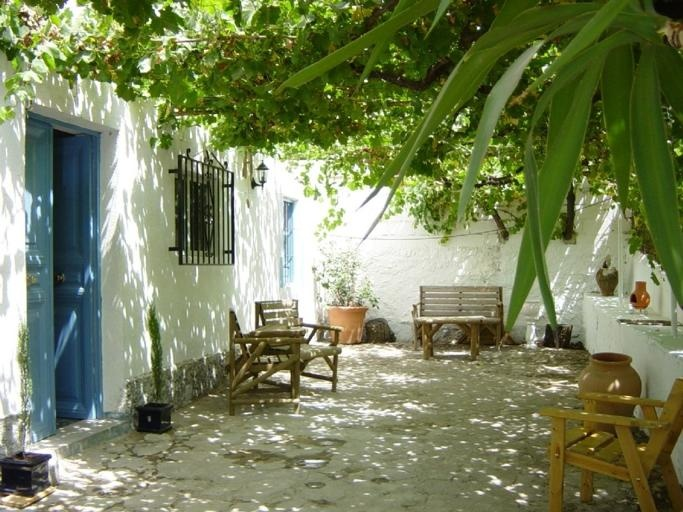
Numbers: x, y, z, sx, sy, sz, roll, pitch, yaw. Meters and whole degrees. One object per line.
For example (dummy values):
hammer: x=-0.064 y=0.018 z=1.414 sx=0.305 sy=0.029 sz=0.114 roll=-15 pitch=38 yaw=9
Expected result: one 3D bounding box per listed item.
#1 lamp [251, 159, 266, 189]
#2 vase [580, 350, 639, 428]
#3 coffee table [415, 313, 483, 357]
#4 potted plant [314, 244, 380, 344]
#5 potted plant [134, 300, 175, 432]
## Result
lamp: x=-1.067 y=-1.045 z=6.797 sx=0.204 sy=0.339 sz=0.516 roll=-1 pitch=0 yaw=-10
vase: x=2.027 y=0.992 z=3.891 sx=0.399 sy=0.493 sz=0.408 roll=-4 pitch=5 yaw=38
coffee table: x=1.587 y=1.159 z=7.669 sx=0.973 sy=0.572 sz=0.799 roll=0 pitch=0 yaw=8
potted plant: x=0.167 y=0.768 z=9.312 sx=1.126 sy=1.647 sz=0.939 roll=6 pitch=-18 yaw=-31
potted plant: x=-1.638 y=0.935 z=4.533 sx=0.288 sy=1.034 sz=0.582 roll=-1 pitch=1 yaw=-21
